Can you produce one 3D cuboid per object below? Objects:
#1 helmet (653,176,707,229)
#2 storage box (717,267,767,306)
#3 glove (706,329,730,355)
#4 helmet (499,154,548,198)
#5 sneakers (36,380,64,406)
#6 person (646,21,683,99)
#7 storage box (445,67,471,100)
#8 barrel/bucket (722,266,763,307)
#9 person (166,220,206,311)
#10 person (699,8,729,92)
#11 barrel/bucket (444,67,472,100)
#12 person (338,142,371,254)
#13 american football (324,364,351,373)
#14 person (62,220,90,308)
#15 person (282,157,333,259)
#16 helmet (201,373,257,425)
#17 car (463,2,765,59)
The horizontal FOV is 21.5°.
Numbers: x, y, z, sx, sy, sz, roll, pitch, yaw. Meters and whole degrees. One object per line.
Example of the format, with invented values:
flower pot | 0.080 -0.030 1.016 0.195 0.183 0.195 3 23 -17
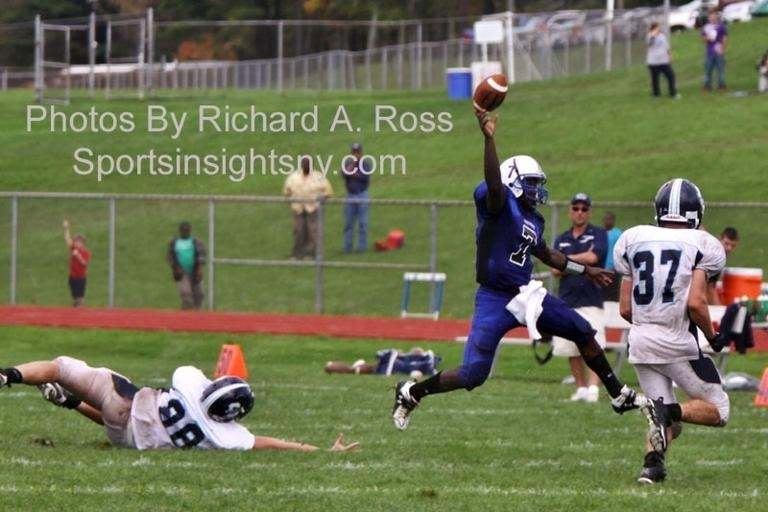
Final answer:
helmet | 3.440 -0.671 23.698 0.443 0.513 0.610 3 11 15
storage box | 4.919 0.393 28.103 0.495 0.532 0.505 0 -3 14
glove | 4.014 0.992 24.518 0.279 0.381 0.223 0 -40 -1
helmet | 1.607 -0.923 23.608 0.518 0.441 0.449 16 5 34
sneakers | -3.842 1.560 23.597 0.167 0.158 0.358 -35 -45 30
person | 4.084 -2.882 29.956 0.449 1.095 0.272 -3 2 6
storage box | 1.091 -2.545 29.833 0.357 0.392 0.371 -2 -3 -35
barrel/bucket | 4.873 0.382 28.005 0.474 0.510 0.481 1 -4 0
person | -2.804 0.121 29.133 0.539 1.216 0.238 -4 2 -7
person | 4.842 -3.040 29.846 0.370 1.193 0.373 -3 3 13
barrel/bucket | 1.087 -2.516 29.690 0.406 0.423 0.413 0 -3 0
person | -0.383 -0.849 29.240 0.458 1.535 0.461 -3 2 1
american football | -0.619 1.500 27.710 0.224 0.082 0.161 5 -6 -18
person | -4.401 0.068 29.314 0.396 1.226 0.164 -3 2 6
person | -1.077 -0.733 29.169 0.675 1.440 0.601 -4 2 -4
helmet | -1.763 1.565 23.639 0.565 0.439 0.501 -10 28 14
car | 3.439 -3.337 29.976 5.537 0.934 0.608 1 12 7
